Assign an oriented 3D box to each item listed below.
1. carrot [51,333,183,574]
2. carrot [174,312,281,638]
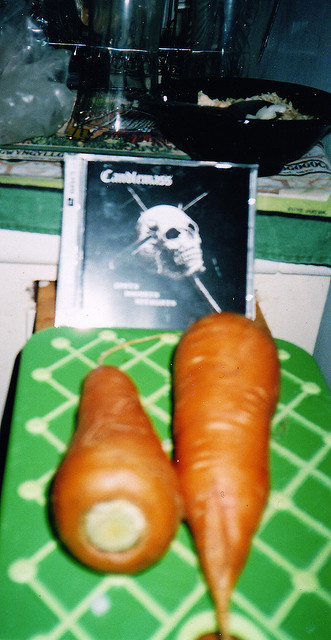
[{"bbox_3d":[-0.041,0.102,0.446,0.107,0.097,0.273,-8,28,-6],"label":"carrot"},{"bbox_3d":[0.045,0.104,0.395,0.067,0.068,0.265,-9,51,12],"label":"carrot"}]
